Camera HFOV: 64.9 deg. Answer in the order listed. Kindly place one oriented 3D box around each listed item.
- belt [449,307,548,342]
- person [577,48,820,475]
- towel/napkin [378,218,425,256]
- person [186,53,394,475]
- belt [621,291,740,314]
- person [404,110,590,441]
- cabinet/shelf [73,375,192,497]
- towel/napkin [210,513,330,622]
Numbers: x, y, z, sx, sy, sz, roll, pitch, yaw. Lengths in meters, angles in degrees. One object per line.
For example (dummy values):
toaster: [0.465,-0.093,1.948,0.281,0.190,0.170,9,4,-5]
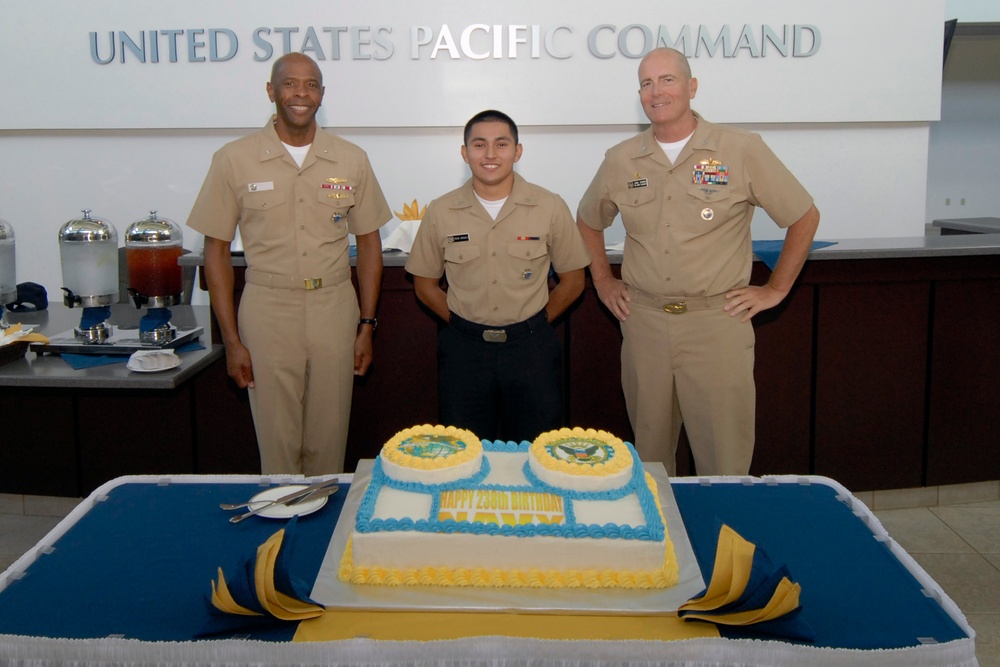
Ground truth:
belt: [-0.017,-0.029,3.432,0.465,0.119,0.136,-4,13,1]
person: [0.869,-0.114,3.623,0.966,2.382,0.498,1,22,19]
towel/napkin: [-0.508,-0.501,4.139,0.179,0.112,0.198,1,7,4]
person: [-0.890,-0.160,3.528,0.868,1.573,0.352,-8,13,-22]
belt: [0.765,-0.131,3.374,0.404,0.090,0.094,1,14,18]
person: [-0.003,0.034,3.740,0.859,2.219,0.512,1,29,3]
cabinet/shelf: [-1.864,0.472,4.270,0.626,0.721,0.476,0,7,0]
towel/napkin: [-0.605,0.605,2.047,0.194,0.154,0.279,11,-12,-44]
